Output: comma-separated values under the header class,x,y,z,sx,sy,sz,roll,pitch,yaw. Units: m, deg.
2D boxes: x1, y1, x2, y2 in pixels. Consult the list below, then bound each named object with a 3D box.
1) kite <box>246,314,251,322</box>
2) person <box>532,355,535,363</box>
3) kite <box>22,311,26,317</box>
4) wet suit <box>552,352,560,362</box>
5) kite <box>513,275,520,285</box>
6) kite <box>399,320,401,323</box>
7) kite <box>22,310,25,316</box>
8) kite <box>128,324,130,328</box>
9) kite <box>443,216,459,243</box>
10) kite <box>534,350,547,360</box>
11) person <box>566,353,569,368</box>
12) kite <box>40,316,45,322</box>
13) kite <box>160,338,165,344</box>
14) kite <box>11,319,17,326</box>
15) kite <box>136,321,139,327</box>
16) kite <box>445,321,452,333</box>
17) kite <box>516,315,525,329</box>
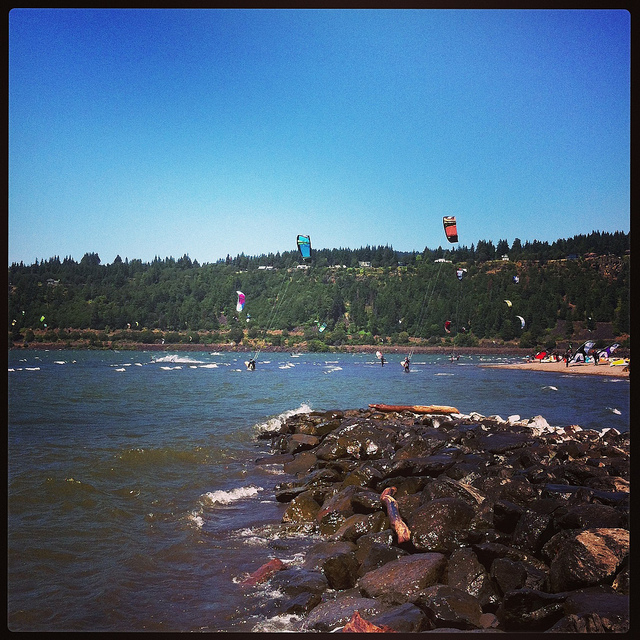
class,x,y,z,sx,sy,sz,roll,pitch,yaw
kite,-13.950,-0.465,124.624,1.098,0.989,3.046,0,39,-8
person,28.618,5.077,85.857,0.234,0.785,2.611,1,1,18
kite,-25.554,-0.591,55.171,0.282,0.434,0.089,2,-11,37
wet suit,27.891,4.400,75.649,0.270,1.155,0.999,-30,16,-33
kite,24.290,-5.063,79.041,0.987,0.716,1.850,2,-28,20
kite,14.481,0.200,115.893,0.308,0.533,0.137,-2,1,1
kite,-25.160,-0.615,54.258,0.082,0.410,0.272,13,-3,-26
kite,-25.040,0.739,83.875,0.361,0.442,0.337,7,-10,-36
kite,7.612,-5.275,37.384,0.646,1.273,1.299,1,1,6
kite,28.128,4.423,81.481,0.808,1.108,3.706,1,1,8
person,26.892,4.308,69.573,0.260,1.480,0.915,1,0,21
kite,-24.727,-0.185,57.019,0.084,0.353,0.338,26,11,19
kite,-24.901,3.242,101.063,0.181,0.848,0.591,3,14,8
kite,-28.017,0.169,58.651,0.293,0.566,0.129,8,35,-44
kite,-24.432,0.432,85.419,0.135,0.609,0.561,5,-12,-9
kite,16.125,0.766,80.498,0.779,1.340,1.659,-12,-21,5
kite,26.777,0.261,85.447,1.131,1.276,1.126,-30,17,-11
